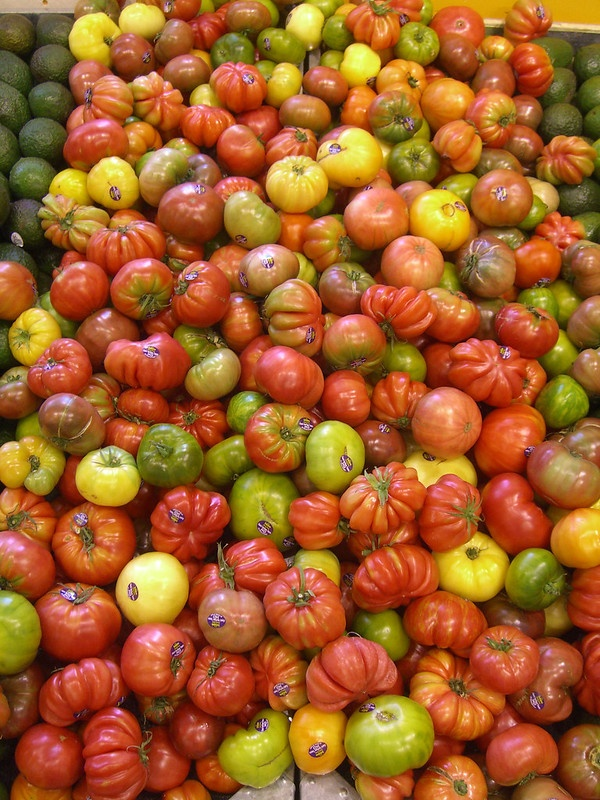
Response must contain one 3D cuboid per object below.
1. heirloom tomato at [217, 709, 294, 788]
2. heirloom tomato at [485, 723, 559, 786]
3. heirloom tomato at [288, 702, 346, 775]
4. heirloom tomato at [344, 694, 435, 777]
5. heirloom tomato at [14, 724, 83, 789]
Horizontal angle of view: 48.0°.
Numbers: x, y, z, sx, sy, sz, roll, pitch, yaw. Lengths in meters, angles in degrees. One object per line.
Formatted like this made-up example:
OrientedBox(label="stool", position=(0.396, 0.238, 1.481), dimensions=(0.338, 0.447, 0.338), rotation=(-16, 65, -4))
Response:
OrientedBox(label="heirloom tomato", position=(-0.127, 1.113, 2.145), dimensions=(0.240, 0.148, 0.165), rotation=(-23, 53, -28))
OrientedBox(label="heirloom tomato", position=(0.710, 1.110, 2.148), dimensions=(0.211, 0.182, 0.199), rotation=(3, 0, -3))
OrientedBox(label="heirloom tomato", position=(0.065, 1.080, 2.139), dimensions=(0.200, 0.194, 0.199), rotation=(-11, 3, 4))
OrientedBox(label="heirloom tomato", position=(0.254, 0.990, 2.030), dimensions=(0.241, 0.183, 0.228), rotation=(-13, 8, -15))
OrientedBox(label="heirloom tomato", position=(-0.752, 1.076, 2.035), dimensions=(0.208, 0.102, 0.160), rotation=(10, 45, 1))
